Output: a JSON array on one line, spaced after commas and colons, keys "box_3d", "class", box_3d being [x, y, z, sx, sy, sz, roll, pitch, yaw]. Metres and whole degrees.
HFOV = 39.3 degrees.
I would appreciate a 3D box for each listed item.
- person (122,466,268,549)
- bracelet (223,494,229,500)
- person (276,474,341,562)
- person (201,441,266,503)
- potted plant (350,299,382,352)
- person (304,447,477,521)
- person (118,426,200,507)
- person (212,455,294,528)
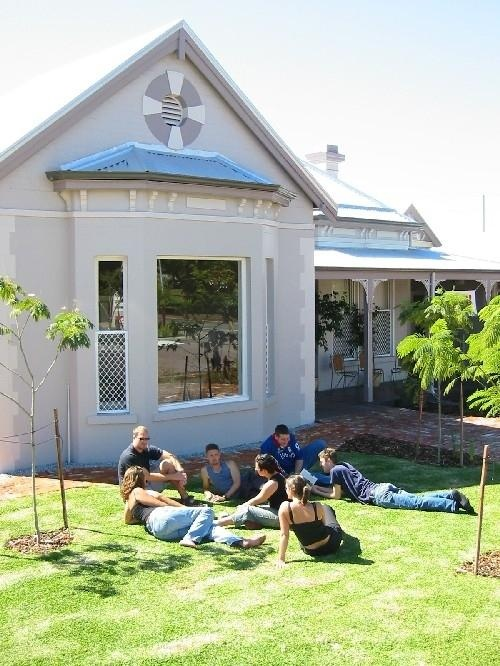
[{"box_3d": [-0.665, 1.973, 7.872, 1.617, 0.878, 0.557, -2, -19, 7], "class": "person"}, {"box_3d": [-0.308, 2.125, 9.028, 0.054, 0.049, 0.053, 3, -2, -37], "class": "bracelet"}, {"box_3d": [0.604, 1.846, 7.069, 0.433, 0.864, 0.874, 1, 2, 29], "class": "person"}, {"box_3d": [-0.115, 1.832, 9.328, 1.111, 0.762, 0.691, -4, 2, -30], "class": "person"}, {"box_3d": [3.413, -0.167, 21.171, 1.072, 1.270, 0.471, 2, 3, -36], "class": "potted plant"}, {"box_3d": [1.770, 1.953, 9.097, 2.091, 0.667, 0.621, 4, -11, 23], "class": "person"}, {"box_3d": [-1.126, 1.681, 8.803, 0.982, 0.951, 0.549, 2, 7, 6], "class": "person"}, {"box_3d": [0.013, 1.830, 8.186, 0.862, 0.809, 0.578, -3, 5, -1], "class": "person"}]
